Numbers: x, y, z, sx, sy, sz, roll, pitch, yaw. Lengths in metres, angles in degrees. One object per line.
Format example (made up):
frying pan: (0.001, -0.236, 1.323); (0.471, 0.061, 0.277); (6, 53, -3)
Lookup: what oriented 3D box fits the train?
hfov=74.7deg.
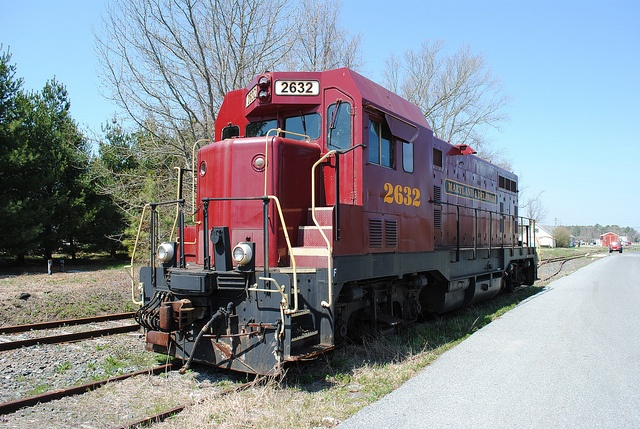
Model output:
train: (1.645, 0.090, 12.125); (4.933, 4.945, 12.293); (-2, -3, 37)
